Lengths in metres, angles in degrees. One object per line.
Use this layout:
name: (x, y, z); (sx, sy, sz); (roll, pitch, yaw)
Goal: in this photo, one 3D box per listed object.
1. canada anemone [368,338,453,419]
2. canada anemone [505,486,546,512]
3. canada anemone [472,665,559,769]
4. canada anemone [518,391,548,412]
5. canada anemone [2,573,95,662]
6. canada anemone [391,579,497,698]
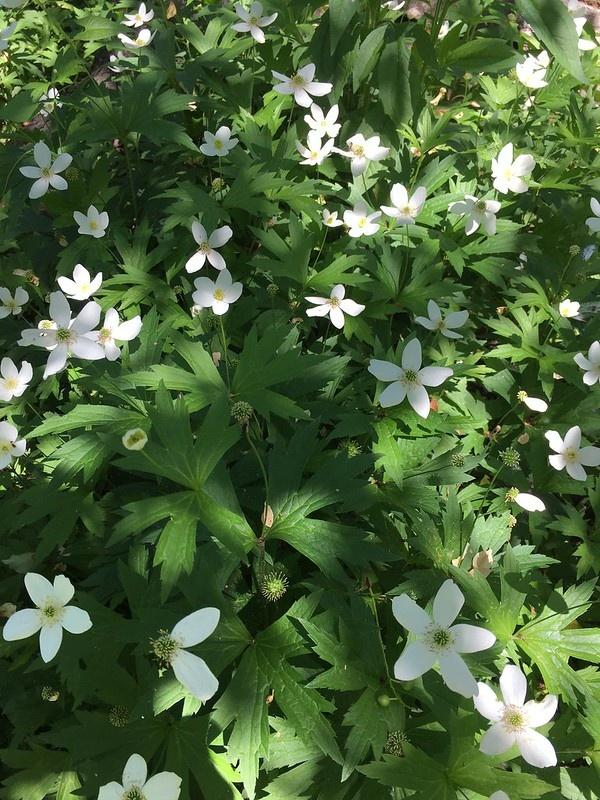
canada anemone: (0.352, -0.075, 2.079); (0.245, 0.057, 0.239); (7, -25, -20)
canada anemone: (0.786, 0.369, 2.341); (0.108, 0.033, 0.129); (-3, 19, -25)
canada anemone: (0.525, 0.766, 1.590); (0.217, 0.194, 0.122); (9, 16, -2)
canada anemone: (0.906, 0.010, 2.565); (0.079, 0.041, 0.132); (-12, 41, -41)
canada anemone: (-0.662, 0.574, 1.736); (0.206, 0.213, 0.133); (7, 16, -9)
canada anemone: (0.344, 0.572, 1.604); (0.255, 0.211, 0.166); (12, 16, 11)
